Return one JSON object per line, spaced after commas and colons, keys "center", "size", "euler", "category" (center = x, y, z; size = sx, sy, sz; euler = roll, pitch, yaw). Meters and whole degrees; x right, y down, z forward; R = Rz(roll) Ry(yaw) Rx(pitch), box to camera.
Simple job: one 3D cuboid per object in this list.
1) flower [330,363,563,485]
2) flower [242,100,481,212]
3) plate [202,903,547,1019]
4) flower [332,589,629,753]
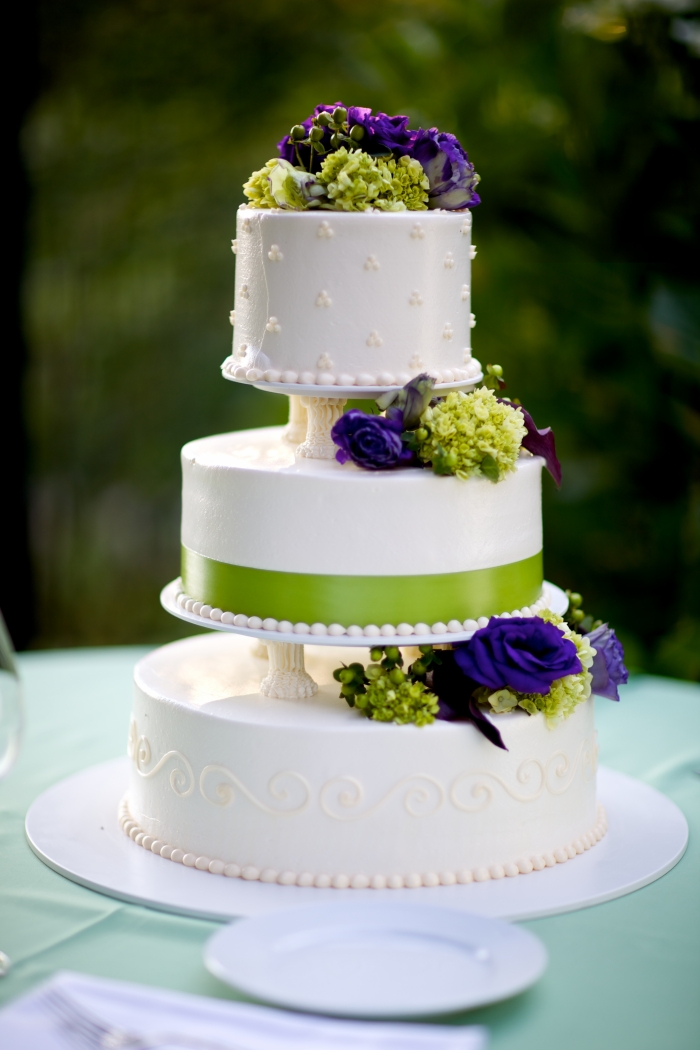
{"center": [0.208, -0.184, 2.369], "size": [0.362, 0.180, 0.309], "euler": [3, 21, 17], "category": "flower"}
{"center": [0.015, -0.712, 2.372], "size": [0.337, 0.163, 0.316], "euler": [1, 1, -23], "category": "flower"}
{"center": [0.039, 0.653, 1.735], "size": [0.481, 0.049, 0.474], "euler": [-2, -2, 22], "category": "plate"}
{"center": [0.284, 0.292, 2.389], "size": [0.656, 0.258, 0.373], "euler": [-2, 7, -22], "category": "flower"}
